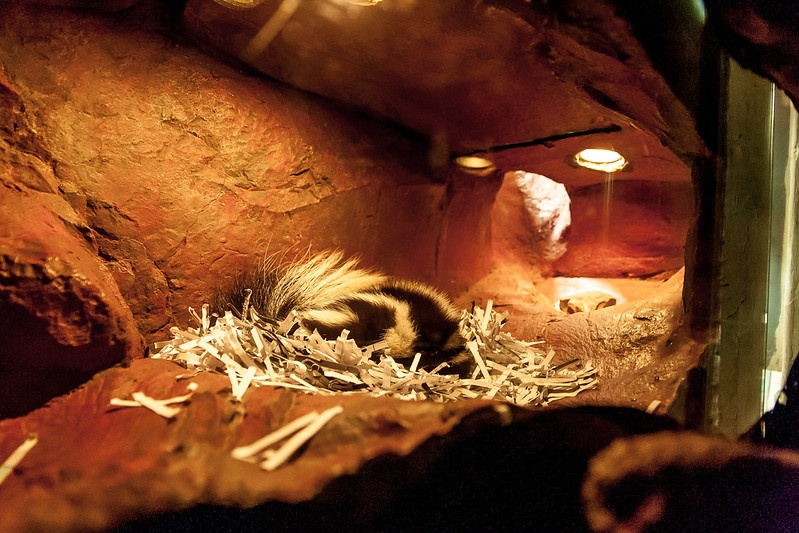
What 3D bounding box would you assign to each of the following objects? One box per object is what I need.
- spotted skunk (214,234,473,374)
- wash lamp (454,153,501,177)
[{"bbox_3d":[-0.167,0.136,2.383,0.604,0.247,0.471,15,3,-8],"label":"spotted skunk"},{"bbox_3d":[0.357,-0.488,3.250,0.111,0.028,0.111,12,-14,-5],"label":"wash lamp"}]
